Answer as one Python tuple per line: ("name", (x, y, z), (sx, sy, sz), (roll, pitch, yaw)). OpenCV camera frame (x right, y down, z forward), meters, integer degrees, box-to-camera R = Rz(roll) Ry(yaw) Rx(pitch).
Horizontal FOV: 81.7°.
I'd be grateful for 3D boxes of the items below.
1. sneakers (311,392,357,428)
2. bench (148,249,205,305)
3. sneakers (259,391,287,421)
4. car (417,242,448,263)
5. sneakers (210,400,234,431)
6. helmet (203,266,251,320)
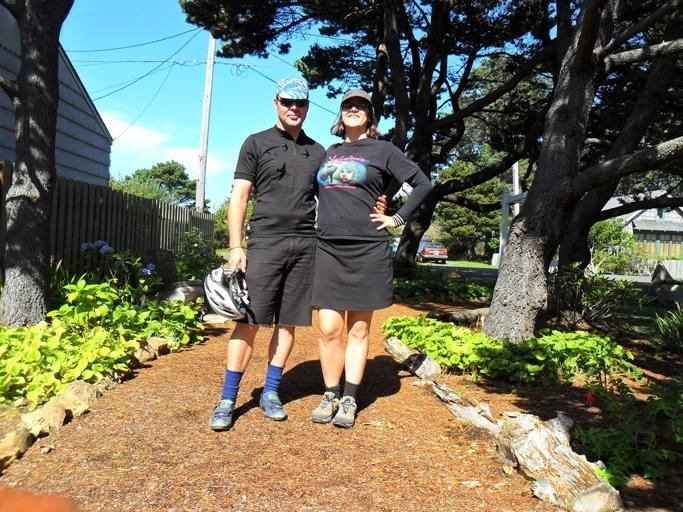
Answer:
("sneakers", (-0.034, 1.181, 3.033), (0.203, 0.120, 0.305), (7, -12, 17))
("bench", (-3.240, 0.426, 7.668), (1.215, 1.040, 1.305), (6, -3, -17))
("sneakers", (-0.529, 1.172, 3.090), (0.108, 0.108, 0.292), (1, 2, -22))
("car", (8.077, -0.176, 35.529), (1.912, 1.471, 4.128), (0, 6, -1))
("sneakers", (-0.851, 1.156, 2.823), (0.092, 0.096, 0.239), (7, -2, -4))
("helmet", (-0.820, 0.255, 2.961), (0.259, 0.402, 0.301), (-15, -33, 6))
